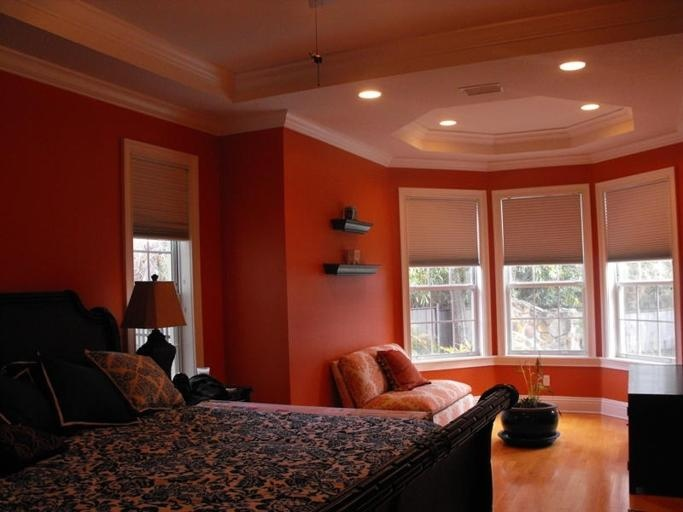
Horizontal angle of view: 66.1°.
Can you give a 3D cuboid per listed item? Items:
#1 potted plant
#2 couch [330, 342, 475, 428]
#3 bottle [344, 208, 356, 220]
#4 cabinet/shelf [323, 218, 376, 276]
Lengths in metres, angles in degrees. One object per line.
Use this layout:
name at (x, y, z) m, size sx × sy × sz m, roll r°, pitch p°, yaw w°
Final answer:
potted plant at (1.896, 1.453, 5.253) m, size 0.509 × 0.737 × 0.537 m, roll -1°, pitch -7°, yaw 42°
couch at (0.671, 1.332, 5.262) m, size 1.224 × 0.688 × 1.214 m, roll -2°, pitch -4°, yaw 27°
bottle at (0.087, -0.438, 5.314) m, size 0.112 × 0.129 × 0.128 m, roll 0°, pitch 1°, yaw -5°
cabinet/shelf at (0.062, -0.095, 5.378) m, size 0.206 × 0.526 × 0.606 m, roll 1°, pitch -3°, yaw 36°
